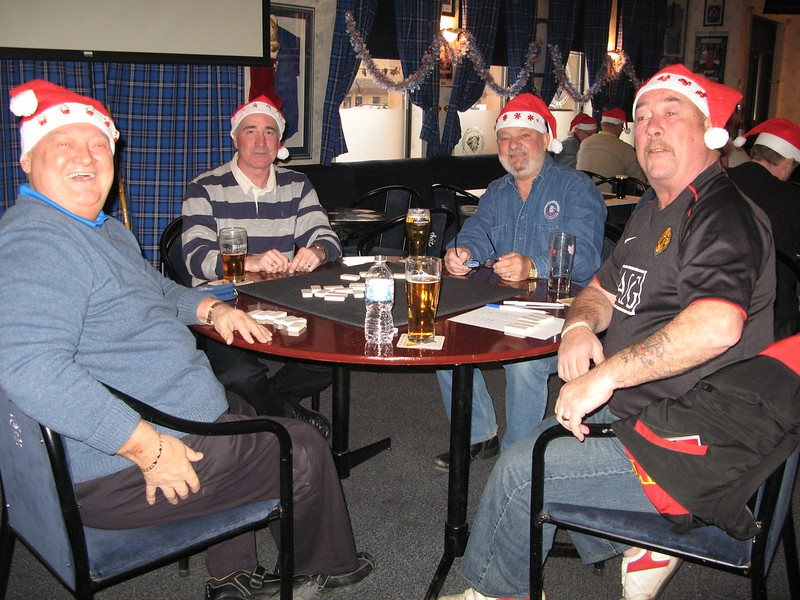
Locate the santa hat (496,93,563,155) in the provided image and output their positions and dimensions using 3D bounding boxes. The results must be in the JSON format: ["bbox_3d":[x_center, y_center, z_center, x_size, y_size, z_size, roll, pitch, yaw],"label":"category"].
[{"bbox_3d":[0.578,-0.883,3.179,0.214,0.353,0.339,12,17,37],"label":"santa hat"}]

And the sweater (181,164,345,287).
[{"bbox_3d":[-0.674,-0.408,3.075,0.851,0.666,0.607,-11,26,-32],"label":"sweater"}]

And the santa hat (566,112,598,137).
[{"bbox_3d":[2.140,-2.030,7.600,0.353,0.304,0.262,10,47,24],"label":"santa hat"}]

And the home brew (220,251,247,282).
[{"bbox_3d":[-0.621,-0.130,2.449,0.104,0.114,0.101,1,7,3],"label":"home brew"}]

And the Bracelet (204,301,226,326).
[{"bbox_3d":[-0.601,0.039,2.073,0.071,0.065,0.068,2,-8,16],"label":"Bracelet"}]
